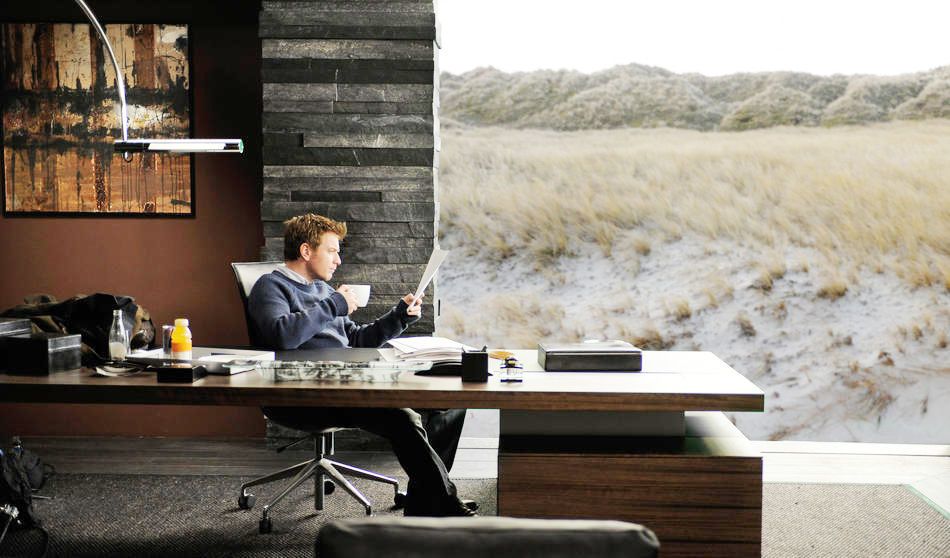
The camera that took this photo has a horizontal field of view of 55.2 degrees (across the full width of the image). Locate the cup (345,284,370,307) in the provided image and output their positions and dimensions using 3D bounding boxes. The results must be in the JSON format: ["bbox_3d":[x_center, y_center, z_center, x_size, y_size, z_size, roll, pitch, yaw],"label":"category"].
[{"bbox_3d":[-0.877,0.126,6.868,0.165,0.124,0.171,1,6,0],"label":"cup"}]

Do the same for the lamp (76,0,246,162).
[{"bbox_3d":[-2.349,-1.420,6.774,0.975,1.047,1.239,-4,12,-21],"label":"lamp"}]

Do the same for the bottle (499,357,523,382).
[{"bbox_3d":[0.230,0.573,5.758,0.151,0.134,0.139,1,5,1],"label":"bottle"}]
